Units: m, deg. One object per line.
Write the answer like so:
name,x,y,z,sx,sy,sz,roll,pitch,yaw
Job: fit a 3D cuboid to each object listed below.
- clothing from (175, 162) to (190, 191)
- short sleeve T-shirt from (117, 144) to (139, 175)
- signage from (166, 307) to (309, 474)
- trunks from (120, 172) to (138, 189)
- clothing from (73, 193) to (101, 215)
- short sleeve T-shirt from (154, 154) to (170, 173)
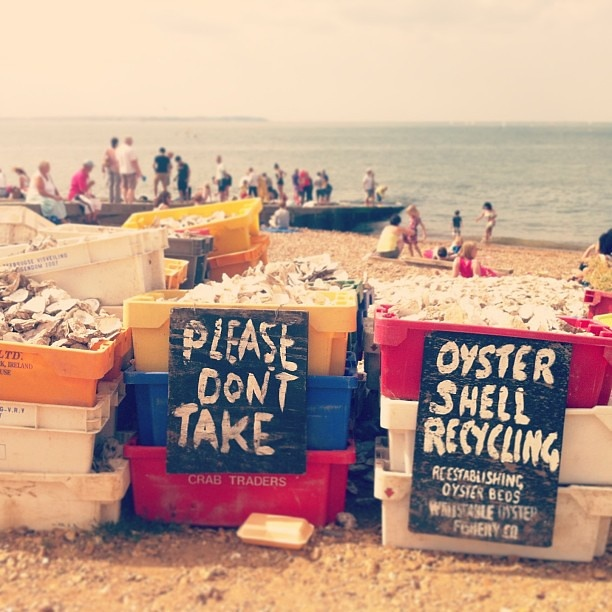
clothing,-3.813,-3.925,20.803,0.315,0.987,0.539,-4,14,-14
short sleeve T-shirt,-4.219,-3.444,15.801,0.466,0.711,0.786,-3,13,-14
signage,-0.375,0.443,3.842,1.152,1.048,0.061,1,3,1
trunks,-4.254,-3.012,16.097,0.331,0.581,0.212,8,38,6
clothing,-4.433,-2.098,13.762,0.470,0.405,0.197,13,49,12
short sleeve T-shirt,-3.934,-3.882,18.391,0.644,0.517,0.338,0,9,-3
